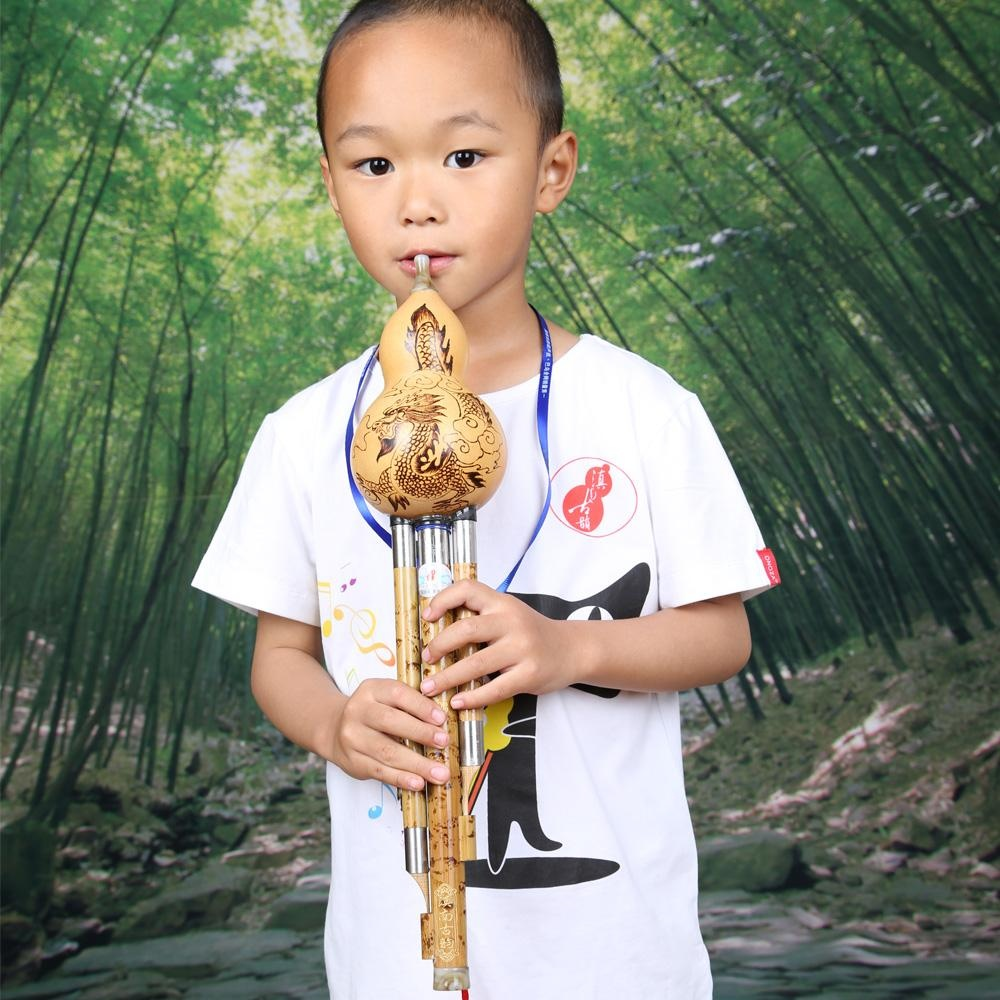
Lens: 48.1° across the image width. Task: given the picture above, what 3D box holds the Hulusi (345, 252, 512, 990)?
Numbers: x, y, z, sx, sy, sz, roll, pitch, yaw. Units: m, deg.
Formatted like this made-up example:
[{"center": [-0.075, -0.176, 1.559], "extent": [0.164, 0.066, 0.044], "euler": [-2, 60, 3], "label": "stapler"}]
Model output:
[{"center": [-0.045, 0.091, 0.925], "extent": [0.123, 0.578, 0.256], "euler": [-8, -26, -8], "label": "Hulusi"}]
